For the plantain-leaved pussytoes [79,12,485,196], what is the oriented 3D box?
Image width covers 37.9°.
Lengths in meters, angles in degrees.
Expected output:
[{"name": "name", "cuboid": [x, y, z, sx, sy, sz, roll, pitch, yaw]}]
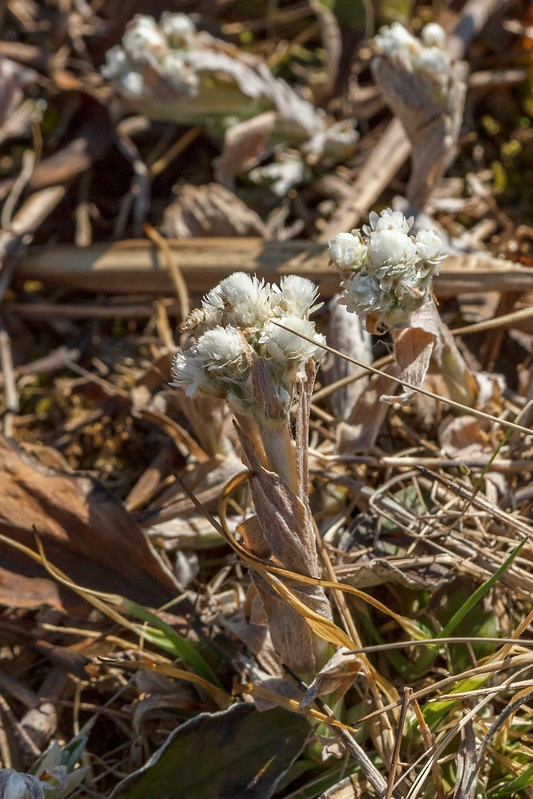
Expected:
[{"name": "plantain-leaved pussytoes", "cuboid": [0.040, -0.449, 1.116, 0.451, 0.201, 0.227, 19, 41, -6]}]

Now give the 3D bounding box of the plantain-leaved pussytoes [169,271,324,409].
[{"name": "plantain-leaved pussytoes", "cuboid": [-0.012, -0.051, 0.614, 0.116, 0.089, 0.103, 10, 45, 2]}]
